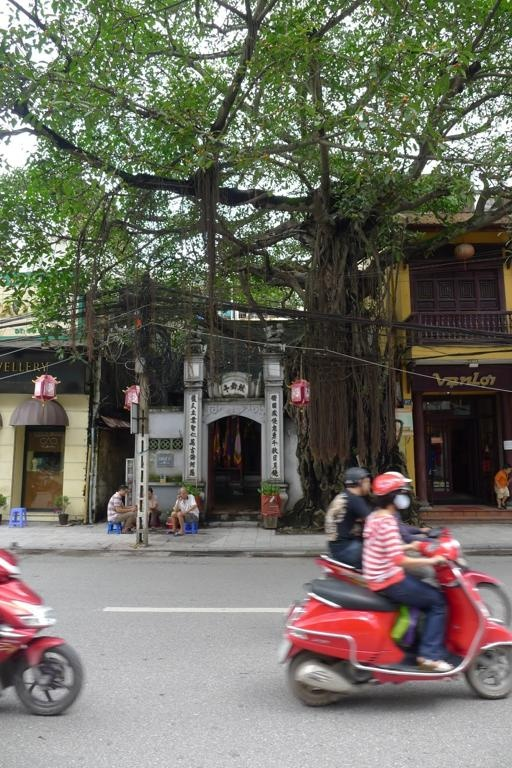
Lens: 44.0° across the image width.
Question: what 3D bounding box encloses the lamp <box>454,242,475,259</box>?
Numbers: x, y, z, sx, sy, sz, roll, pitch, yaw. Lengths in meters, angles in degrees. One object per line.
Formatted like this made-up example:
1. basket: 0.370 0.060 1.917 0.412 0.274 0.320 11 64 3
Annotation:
1. lamp: 5.026 -3.135 15.288 0.408 0.406 0.412 -8 -20 20

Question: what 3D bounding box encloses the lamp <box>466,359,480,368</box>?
1. lamp: 5.232 -0.469 15.242 0.221 0.214 0.209 -2 -8 17

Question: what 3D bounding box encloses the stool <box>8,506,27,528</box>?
1. stool: -5.549 3.130 14.760 0.359 0.406 0.479 3 -8 -23

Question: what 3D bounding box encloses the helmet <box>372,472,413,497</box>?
1. helmet: 0.836 0.605 3.875 0.194 0.101 0.133 -7 5 -13

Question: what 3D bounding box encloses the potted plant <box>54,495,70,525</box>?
1. potted plant: -4.593 3.025 15.051 0.292 0.665 0.563 2 -8 -17

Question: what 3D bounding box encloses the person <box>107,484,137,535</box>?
1. person: -2.921 2.712 13.768 0.545 0.986 1.543 2 -8 -14

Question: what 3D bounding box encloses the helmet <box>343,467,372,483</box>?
1. helmet: 0.684 0.613 4.258 0.142 0.110 0.103 4 -13 6

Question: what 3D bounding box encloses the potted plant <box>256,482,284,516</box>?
1. potted plant: 0.343 2.541 13.906 0.473 0.760 0.624 -2 -8 8

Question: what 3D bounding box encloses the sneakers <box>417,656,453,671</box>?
1. sneakers: 0.995 1.569 3.562 0.212 0.089 0.078 -1 -3 -3

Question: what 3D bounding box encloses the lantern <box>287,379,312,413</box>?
1. lantern: 0.895 0.179 12.928 0.352 0.501 0.346 -1 -8 6

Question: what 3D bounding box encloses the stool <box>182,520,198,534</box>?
1. stool: -1.366 2.991 13.173 0.273 0.263 0.204 -2 -6 12

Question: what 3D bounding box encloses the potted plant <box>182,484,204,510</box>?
1. potted plant: -1.397 2.542 14.146 0.543 0.467 0.606 0 -9 1

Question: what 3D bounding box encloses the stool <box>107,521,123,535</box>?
1. stool: -3.018 3.057 13.457 0.247 0.231 0.247 0 -4 -2

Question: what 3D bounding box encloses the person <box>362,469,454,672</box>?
1. person: 0.920 1.116 3.793 0.556 1.105 0.514 1 -5 2

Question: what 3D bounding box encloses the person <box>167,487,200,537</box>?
1. person: -1.504 2.652 13.228 0.550 0.932 0.952 1 -8 -9
